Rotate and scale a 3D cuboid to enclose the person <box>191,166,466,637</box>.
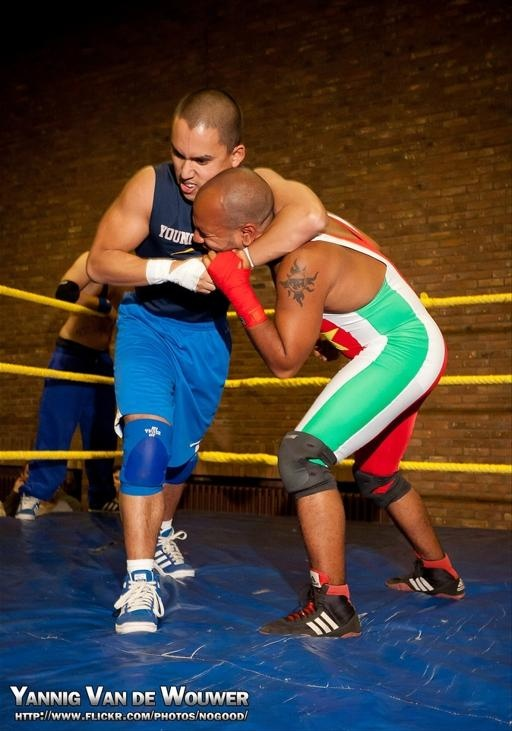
[{"bbox_3d":[0.229,0.113,1.645,0.621,1.117,0.719,-5,25,-21],"label":"person"}]

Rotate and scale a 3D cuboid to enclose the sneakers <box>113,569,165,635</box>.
[{"bbox_3d":[-0.271,0.569,1.538,0.118,0.106,0.200,1,21,-7],"label":"sneakers"}]

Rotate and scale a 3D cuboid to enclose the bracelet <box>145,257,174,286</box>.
[{"bbox_3d":[-0.252,-0.249,1.713,0.068,0.068,0.083,-2,-3,-37],"label":"bracelet"}]

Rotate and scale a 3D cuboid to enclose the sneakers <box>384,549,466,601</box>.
[{"bbox_3d":[0.481,0.584,1.858,0.246,0.094,0.089,-2,1,43],"label":"sneakers"}]

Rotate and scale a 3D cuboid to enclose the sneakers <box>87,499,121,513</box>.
[{"bbox_3d":[-0.803,0.759,3.529,0.238,0.067,0.162,-1,-4,-4],"label":"sneakers"}]
